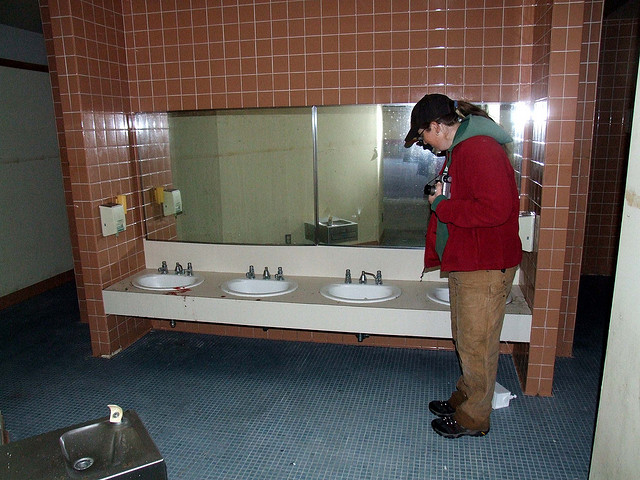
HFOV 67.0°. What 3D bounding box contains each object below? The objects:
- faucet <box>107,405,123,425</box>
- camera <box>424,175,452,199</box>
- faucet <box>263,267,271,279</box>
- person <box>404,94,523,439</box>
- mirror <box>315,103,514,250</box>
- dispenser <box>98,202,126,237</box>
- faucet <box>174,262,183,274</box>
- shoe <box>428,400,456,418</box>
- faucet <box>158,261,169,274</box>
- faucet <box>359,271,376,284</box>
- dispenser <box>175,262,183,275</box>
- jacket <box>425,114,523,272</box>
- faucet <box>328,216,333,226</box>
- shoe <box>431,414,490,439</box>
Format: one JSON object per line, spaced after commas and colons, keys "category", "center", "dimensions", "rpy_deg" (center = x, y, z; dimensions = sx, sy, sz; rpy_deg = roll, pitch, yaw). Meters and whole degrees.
{"category": "faucet", "center": [-0.856, 0.737, 2.044], "dimensions": [0.065, 0.084, 0.079], "rpy_deg": [2, -1, -22]}
{"category": "camera", "center": [0.705, -0.324, 2.878], "dimensions": [0.128, 0.107, 0.177], "rpy_deg": [-2, 17, 3]}
{"category": "faucet", "center": [-0.445, 0.279, 4.017], "dimensions": [0.076, 0.137, 0.050], "rpy_deg": [1, 13, 4]}
{"category": "person", "center": [0.856, 0.184, 2.918], "dimensions": [0.571, 2.056, 0.388], "rpy_deg": [11, 17, 43]}
{"category": "mirror", "center": [0.657, -0.476, 3.327], "dimensions": [1.065, 0.860, 0.014], "rpy_deg": [3, 16, 14]}
{"category": "dispenser", "center": [-1.679, -0.161, 3.938], "dimensions": [0.113, 0.268, 0.223], "rpy_deg": [4, 13, 21]}
{"category": "faucet", "center": [-1.227, 0.252, 4.220], "dimensions": [0.047, 0.085, 0.084], "rpy_deg": [1, -4, -4]}
{"category": "shoe", "center": [0.802, 1.106, 3.185], "dimensions": [0.148, 0.070, 0.076], "rpy_deg": [11, 27, 15]}
{"category": "faucet", "center": [-1.374, 0.243, 4.221], "dimensions": [0.088, 0.087, 0.132], "rpy_deg": [-6, 14, -21]}
{"category": "faucet", "center": [0.368, 0.298, 3.854], "dimensions": [0.149, 0.084, 0.077], "rpy_deg": [-9, 15, -33]}
{"category": "dispenser", "center": [-1.222, 0.257, 4.171], "dimensions": [0.058, 0.085, 0.084], "rpy_deg": [2, -2, -15]}
{"category": "jacket", "center": [0.948, -0.291, 3.008], "dimensions": [0.527, 0.928, 0.933], "rpy_deg": [2, 7, 9]}
{"category": "faucet", "center": [0.084, -0.148, 3.979], "dimensions": [0.050, 0.054, 0.095], "rpy_deg": [0, -12, 2]}
{"category": "shoe", "center": [0.863, 1.167, 3.002], "dimensions": [0.321, 0.162, 0.141], "rpy_deg": [5, 7, 5]}
